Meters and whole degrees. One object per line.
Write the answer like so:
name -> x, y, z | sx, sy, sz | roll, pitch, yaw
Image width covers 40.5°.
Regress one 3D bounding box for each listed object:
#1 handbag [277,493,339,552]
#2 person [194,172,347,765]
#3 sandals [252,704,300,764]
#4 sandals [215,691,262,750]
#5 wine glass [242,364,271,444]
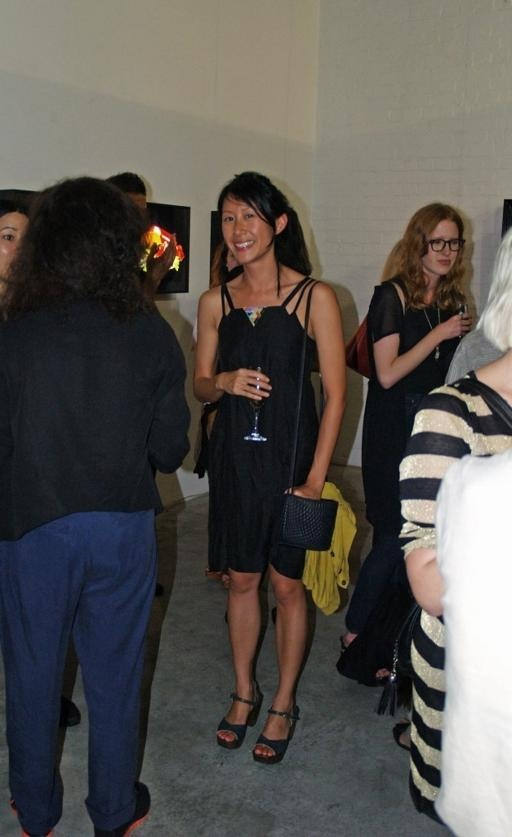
handbag -> 0.150, 0.309, 2.117 | 0.192, 0.187, 0.123 | 10, 4, 6
person -> 0.037, 0.146, 2.282 | 0.374, 1.883, 0.640 | -5, 11, -42
sandals -> 0.060, 1.025, 2.258 | 0.085, 0.090, 0.238 | 1, 5, 14
sandals -> -0.053, 1.012, 2.354 | 0.078, 0.098, 0.256 | 3, 8, 15
wine glass -> 0.002, 0.012, 2.147 | 0.061, 0.135, 0.080 | 0, 8, -16
